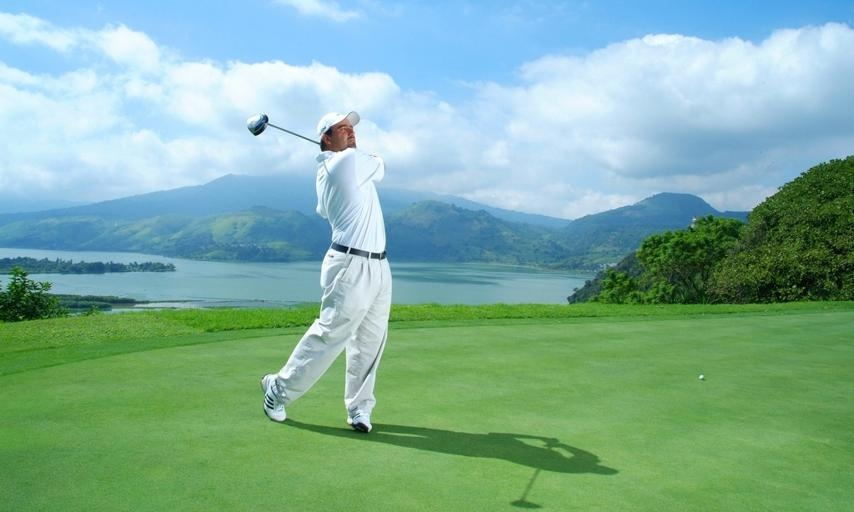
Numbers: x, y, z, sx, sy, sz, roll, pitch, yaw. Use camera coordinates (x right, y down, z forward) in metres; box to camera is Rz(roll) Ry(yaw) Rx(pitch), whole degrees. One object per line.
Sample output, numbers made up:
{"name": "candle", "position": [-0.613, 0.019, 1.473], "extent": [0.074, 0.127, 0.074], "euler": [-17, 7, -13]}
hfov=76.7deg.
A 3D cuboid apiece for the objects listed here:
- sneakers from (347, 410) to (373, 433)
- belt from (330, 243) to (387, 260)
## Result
{"name": "sneakers", "position": [-0.974, 2.376, 7.710], "extent": [0.190, 0.178, 0.422], "euler": [13, 16, 37]}
{"name": "belt", "position": [-1.024, -0.078, 7.960], "extent": [0.795, 0.240, 0.272], "euler": [1, -3, -9]}
